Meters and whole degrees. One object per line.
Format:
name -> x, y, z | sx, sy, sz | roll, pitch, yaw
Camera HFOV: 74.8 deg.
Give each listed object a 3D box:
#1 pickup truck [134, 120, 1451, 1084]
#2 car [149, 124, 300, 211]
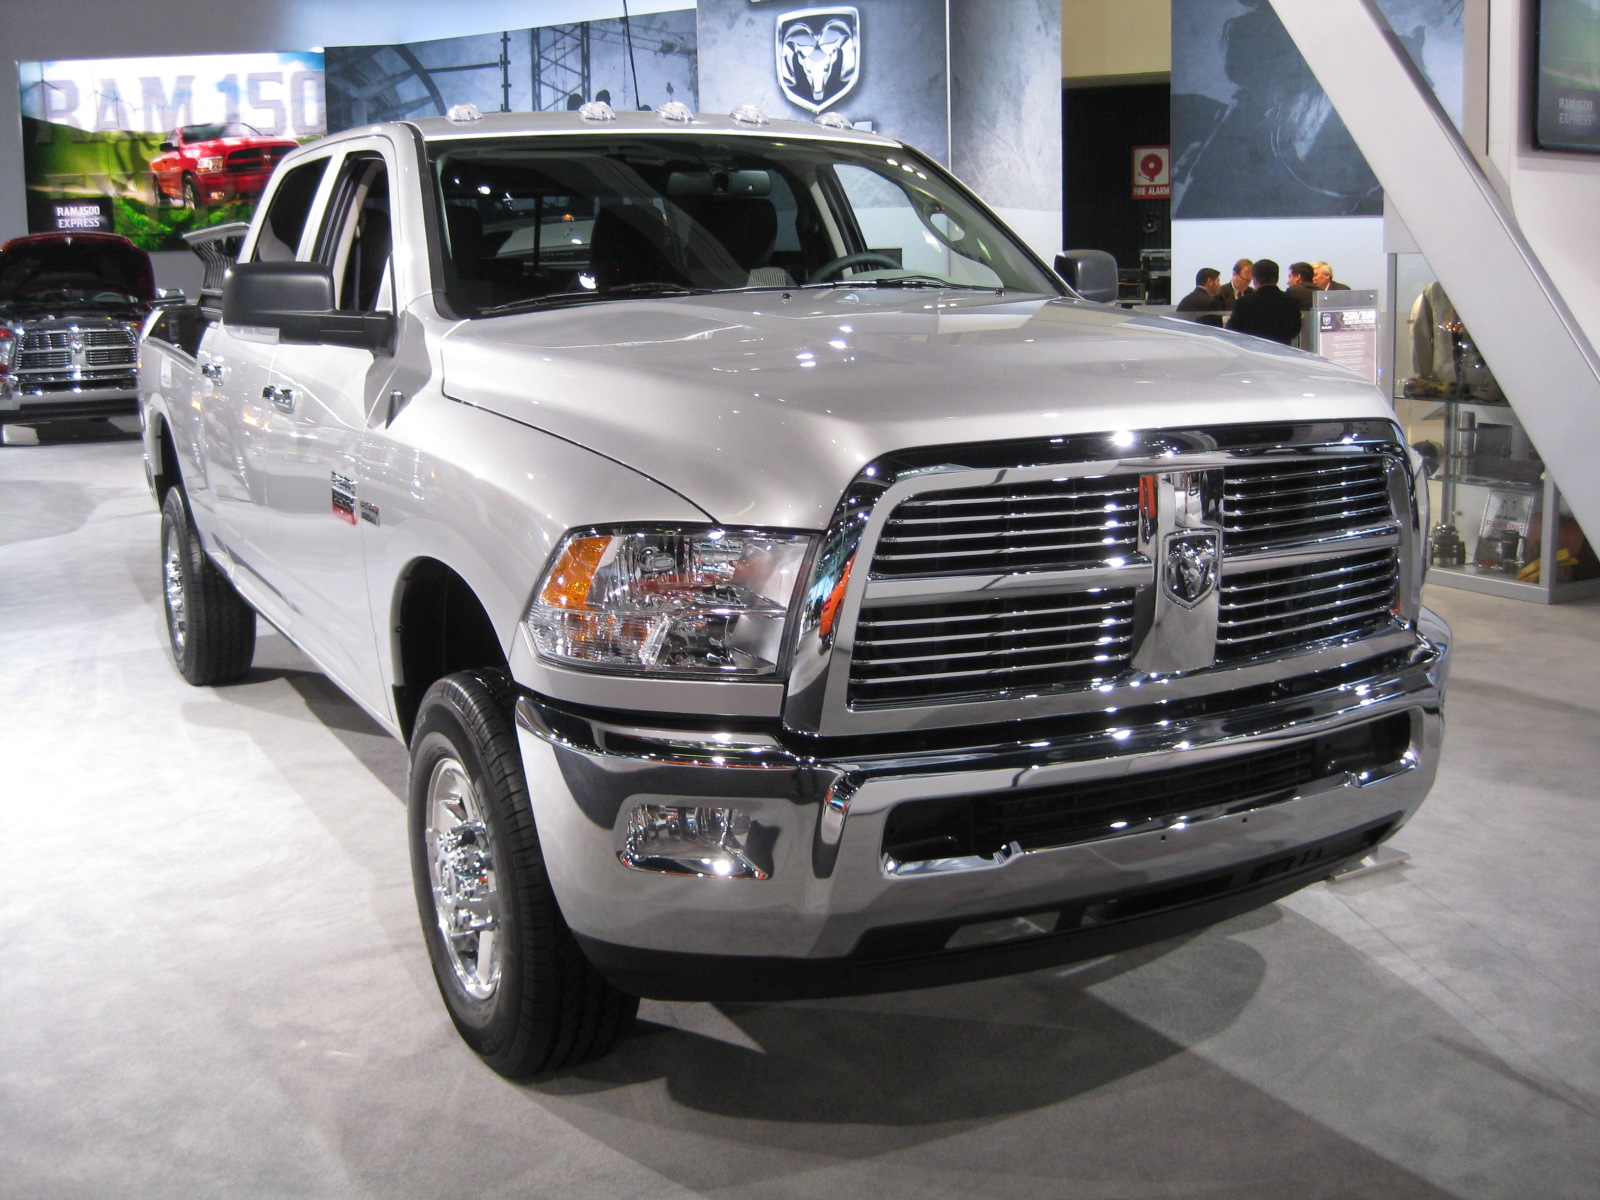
pickup truck -> -0.723, -0.511, 4.369 | 2.844, 1.954, 5.705 | -9, 16, -30
car -> -11.953, -9.162, 21.891 | 3.126, 1.063, 1.740 | -1, 35, 11
